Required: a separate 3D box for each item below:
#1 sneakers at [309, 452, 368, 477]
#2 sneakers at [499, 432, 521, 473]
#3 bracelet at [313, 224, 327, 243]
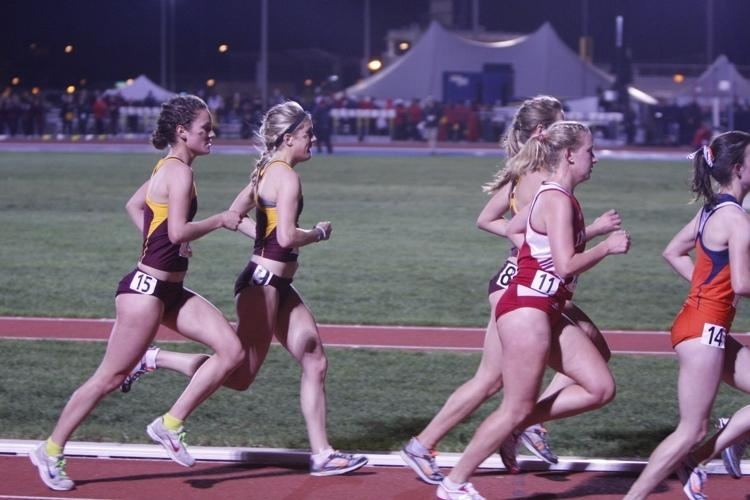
[{"bbox_3d":[-0.443,2.555,15.396,0.710,0.284,0.269,-3,-1,-1],"label":"sneakers"},{"bbox_3d":[1.657,2.441,15.463,0.199,0.544,0.256,-12,8,25],"label":"sneakers"},{"bbox_3d":[-0.684,-0.203,15.607,0.158,0.188,0.156,-22,28,-37],"label":"bracelet"}]
